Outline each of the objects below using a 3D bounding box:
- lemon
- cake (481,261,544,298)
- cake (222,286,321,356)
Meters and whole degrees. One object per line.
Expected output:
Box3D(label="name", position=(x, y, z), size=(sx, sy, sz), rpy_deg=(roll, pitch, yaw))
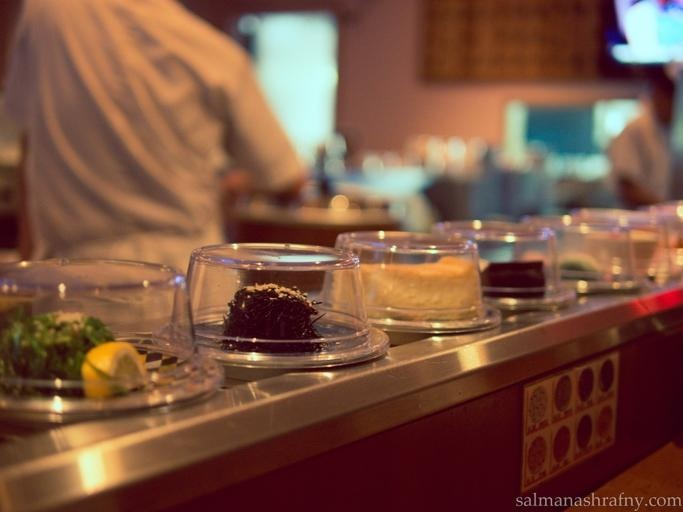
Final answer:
Box3D(label="lemon", position=(-0.216, 0.113, 0.591), size=(0.058, 0.053, 0.019), rpy_deg=(3, -14, -30))
Box3D(label="cake", position=(0.315, 0.033, 1.079), size=(0.083, 0.048, 0.081), rpy_deg=(-1, 1, -7))
Box3D(label="cake", position=(-0.088, 0.083, 0.763), size=(0.097, 0.055, 0.097), rpy_deg=(-1, -4, 32))
